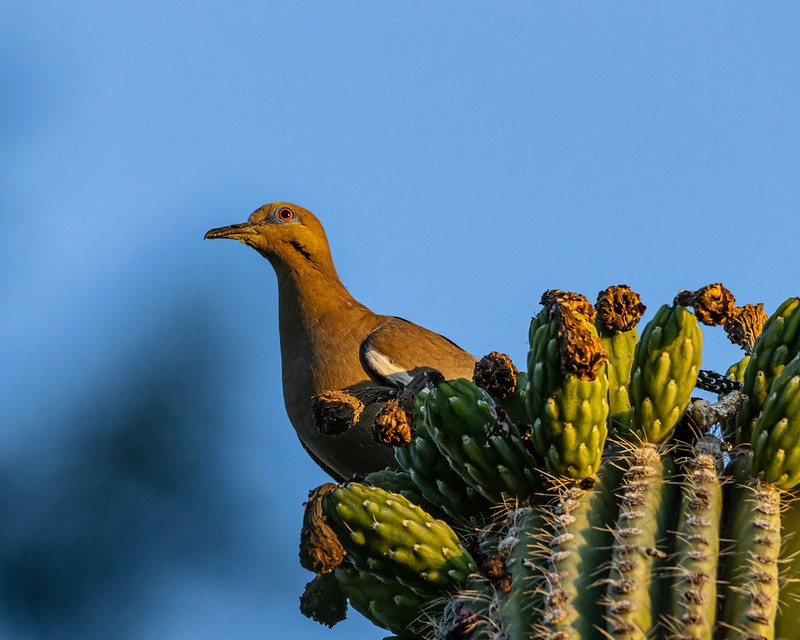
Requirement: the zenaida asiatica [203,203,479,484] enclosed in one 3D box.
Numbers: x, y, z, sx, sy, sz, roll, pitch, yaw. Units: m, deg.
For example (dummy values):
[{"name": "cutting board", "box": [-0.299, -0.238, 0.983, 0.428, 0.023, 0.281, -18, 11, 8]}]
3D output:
[{"name": "zenaida asiatica", "box": [-0.096, 0.106, 7.437, 1.343, 1.332, 0.741, 0, -22, -8]}]
